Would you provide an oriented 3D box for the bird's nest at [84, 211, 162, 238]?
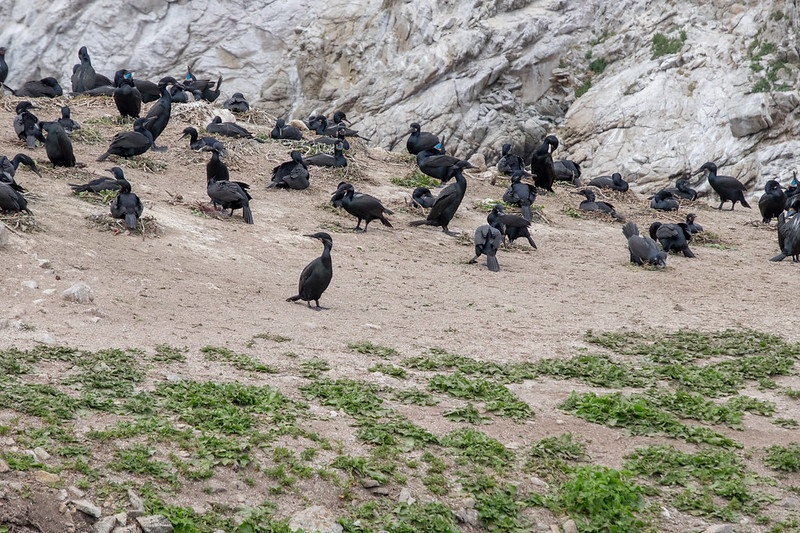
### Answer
[{"bbox_3d":[-5.835,-0.884,24.416,1.554,0.346,0.725,2,11,-33],"label":"bird's nest"}]

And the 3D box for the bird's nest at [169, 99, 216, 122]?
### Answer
[{"bbox_3d":[-6.041,-4.489,33.324,1.011,0.306,0.808,3,14,37],"label":"bird's nest"}]

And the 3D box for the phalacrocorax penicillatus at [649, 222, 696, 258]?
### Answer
[{"bbox_3d":[7.030,-0.665,28.729,0.613,0.598,1.575,-15,27,-32],"label":"phalacrocorax penicillatus"}]

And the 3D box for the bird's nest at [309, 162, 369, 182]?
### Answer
[{"bbox_3d":[-1.611,-2.559,31.143,1.609,0.450,0.727,4,11,-25],"label":"bird's nest"}]

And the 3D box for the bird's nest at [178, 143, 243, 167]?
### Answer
[{"bbox_3d":[-4.959,-2.964,30.509,1.857,0.490,0.916,-1,14,-45],"label":"bird's nest"}]

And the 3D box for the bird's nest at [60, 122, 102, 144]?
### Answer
[{"bbox_3d":[-8.125,-3.413,29.483,0.462,0.300,1.052,20,13,34],"label":"bird's nest"}]

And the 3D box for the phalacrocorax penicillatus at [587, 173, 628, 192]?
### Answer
[{"bbox_3d":[6.435,-2.562,34.945,0.948,0.329,0.685,4,4,37],"label":"phalacrocorax penicillatus"}]
